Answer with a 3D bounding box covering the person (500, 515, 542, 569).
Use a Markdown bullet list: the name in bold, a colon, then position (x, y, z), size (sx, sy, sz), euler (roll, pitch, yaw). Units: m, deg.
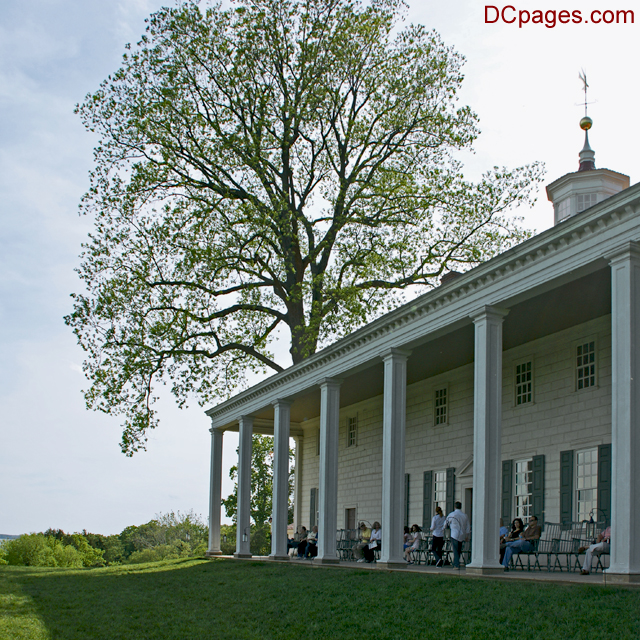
- **person**: position (3.825, 4.181, 16.455), size (0.680, 1.028, 0.960), euler (-3, -20, 10)
